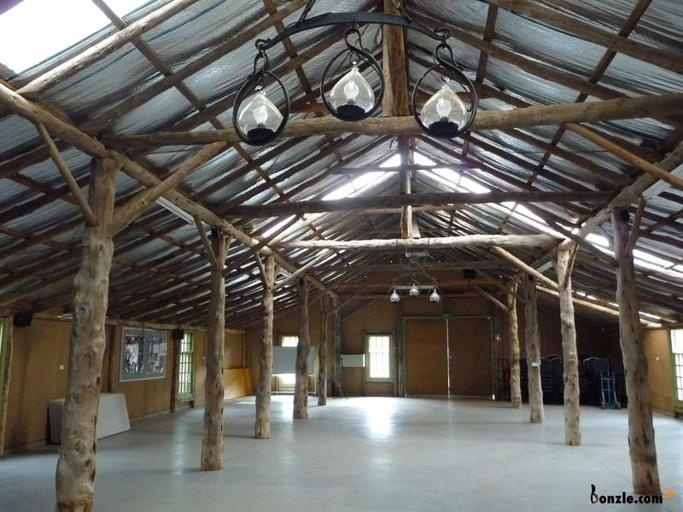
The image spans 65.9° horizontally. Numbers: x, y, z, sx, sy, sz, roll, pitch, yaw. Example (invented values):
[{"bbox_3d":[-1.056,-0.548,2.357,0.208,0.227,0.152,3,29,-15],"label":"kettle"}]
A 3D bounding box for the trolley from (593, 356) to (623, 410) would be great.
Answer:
[{"bbox_3d":[8.919,4.169,17.194,0.665,1.291,0.880,2,-21,-15],"label":"trolley"}]
